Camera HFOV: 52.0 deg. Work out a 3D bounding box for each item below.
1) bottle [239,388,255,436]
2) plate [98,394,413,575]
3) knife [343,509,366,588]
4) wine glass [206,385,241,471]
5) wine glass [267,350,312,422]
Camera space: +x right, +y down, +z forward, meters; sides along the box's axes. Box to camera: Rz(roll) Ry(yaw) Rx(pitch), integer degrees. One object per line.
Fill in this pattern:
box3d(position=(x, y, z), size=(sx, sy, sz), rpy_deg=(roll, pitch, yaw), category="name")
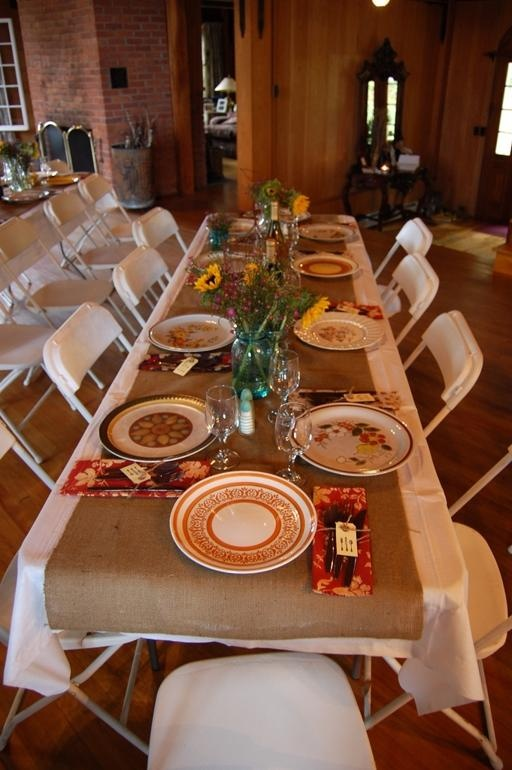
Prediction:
box3d(position=(-0.021, 0.065, 1.205), size=(0.043, 0.119, 0.043), rpy_deg=(0, 35, 0), category="bottle")
box3d(position=(0.043, 0.224, 0.946), size=(0.356, 0.047, 0.430), rpy_deg=(2, 23, 3), category="plate")
box3d(position=(0.157, 0.264, 0.869), size=(0.031, 0.011, 0.118), rpy_deg=(0, 32, 16), category="knife")
box3d(position=(-0.070, 0.095, 1.092), size=(0.070, 0.169, 0.074), rpy_deg=(-4, 44, -4), category="wine glass")
box3d(position=(0.064, -0.004, 1.233), size=(0.075, 0.168, 0.071), rpy_deg=(-4, 30, -5), category="wine glass")
